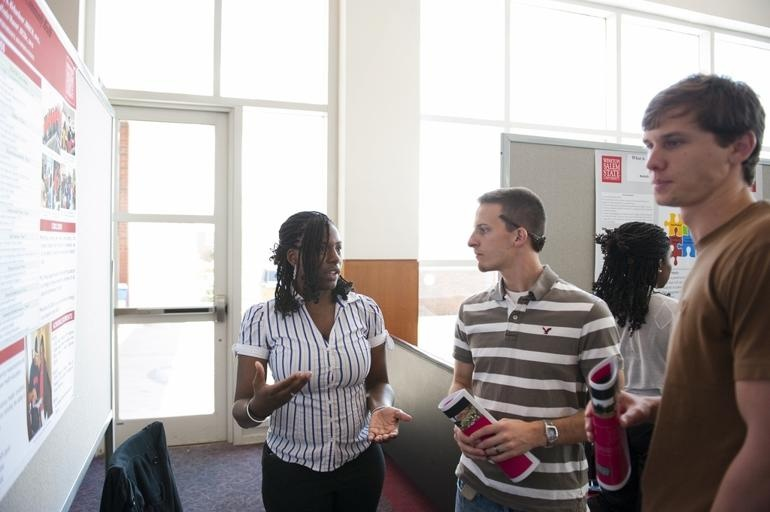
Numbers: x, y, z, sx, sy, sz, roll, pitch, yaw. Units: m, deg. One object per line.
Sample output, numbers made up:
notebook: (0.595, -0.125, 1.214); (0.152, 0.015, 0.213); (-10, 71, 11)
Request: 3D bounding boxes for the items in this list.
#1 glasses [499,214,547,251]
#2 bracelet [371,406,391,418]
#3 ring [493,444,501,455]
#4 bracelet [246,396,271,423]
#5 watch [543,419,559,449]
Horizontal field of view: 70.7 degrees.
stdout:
glasses: (0.581, -0.095, 2.312); (0.160, 0.052, 0.154); (30, 8, 33)
bracelet: (-0.019, 0.669, 2.343); (0.075, 0.027, 0.054); (-1, 2, -2)
ring: (0.421, 0.731, 2.034); (0.008, 0.027, 0.026); (-13, 28, -41)
bracelet: (-0.521, 0.637, 2.246); (0.092, 0.111, 0.038); (2, 10, 35)
watch: (0.618, 0.667, 2.064); (0.051, 0.083, 0.081); (-3, -30, -7)
